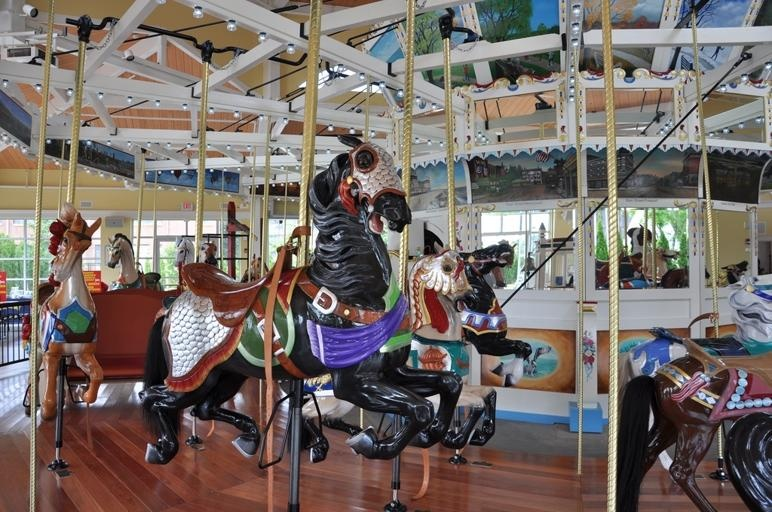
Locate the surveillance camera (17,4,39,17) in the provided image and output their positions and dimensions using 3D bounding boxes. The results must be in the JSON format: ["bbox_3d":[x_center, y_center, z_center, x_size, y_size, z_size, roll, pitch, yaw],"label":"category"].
[{"bbox_3d":[-4.525,-3.128,8.916,0.198,0.161,0.217,2,0,-26],"label":"surveillance camera"}]
